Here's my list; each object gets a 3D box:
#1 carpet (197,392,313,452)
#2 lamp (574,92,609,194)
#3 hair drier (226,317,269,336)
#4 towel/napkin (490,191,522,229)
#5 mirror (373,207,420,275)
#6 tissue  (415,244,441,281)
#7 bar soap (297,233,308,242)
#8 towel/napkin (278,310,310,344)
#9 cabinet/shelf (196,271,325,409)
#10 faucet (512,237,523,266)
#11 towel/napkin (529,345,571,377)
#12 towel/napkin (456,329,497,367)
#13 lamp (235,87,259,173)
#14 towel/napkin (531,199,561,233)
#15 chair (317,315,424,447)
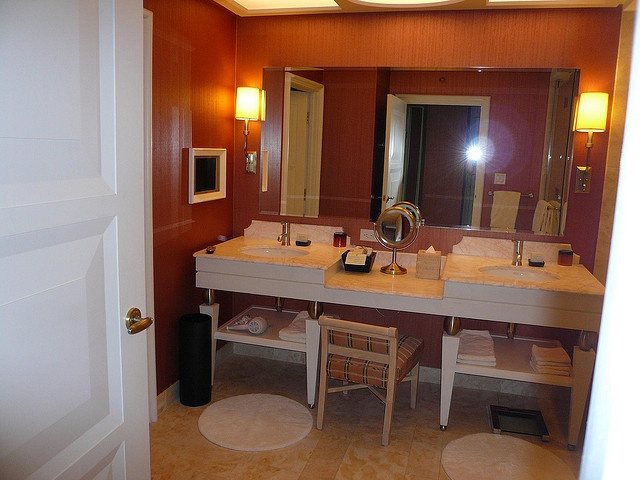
[{"bbox_3d":[-0.397,1.150,3.092,0.712,0.018,0.582,-1,12,-14],"label":"carpet"},{"bbox_3d":[1.793,-0.647,3.289,0.203,0.658,0.141,6,12,23],"label":"lamp"},{"bbox_3d":[-0.498,0.610,3.481,0.215,0.094,0.137,-7,-6,27],"label":"hair drier"},{"bbox_3d":[1.312,-0.207,3.487,0.180,0.274,0.049,6,12,20],"label":"towel/napkin"},{"bbox_3d":[0.560,-0.031,3.536,0.326,0.482,0.377,4,12,11],"label":"mirror"},{"bbox_3d":[0.731,0.148,3.310,0.169,0.266,0.178,2,10,15],"label":"tissue "},{"bbox_3d":[-0.137,-0.021,3.727,0.087,0.068,0.051,1,0,8],"label":"bar soap"},{"bbox_3d":[-0.181,0.574,3.469,0.200,0.189,0.443,1,12,-2],"label":"towel/napkin"},{"bbox_3d":[-0.294,0.723,3.575,0.624,0.551,0.854,5,9,14],"label":"cabinet/shelf"},{"bbox_3d":[1.344,0.077,3.348,0.071,0.165,0.187,6,12,22],"label":"faucet"},{"bbox_3d":[1.432,0.740,3.094,0.213,0.104,0.296,4,12,9],"label":"towel/napkin"},{"bbox_3d":[0.993,0.699,3.144,0.182,0.063,0.249,1,9,15],"label":"towel/napkin"},{"bbox_3d":[-0.569,-0.853,3.861,0.208,0.663,0.208,0,11,-4],"label":"lamp"},{"bbox_3d":[1.581,-0.160,3.426,0.171,0.237,0.033,3,11,7],"label":"towel/napkin"},{"bbox_3d":[0.296,0.794,3.067,0.560,0.783,0.573,6,12,20],"label":"chair"}]
